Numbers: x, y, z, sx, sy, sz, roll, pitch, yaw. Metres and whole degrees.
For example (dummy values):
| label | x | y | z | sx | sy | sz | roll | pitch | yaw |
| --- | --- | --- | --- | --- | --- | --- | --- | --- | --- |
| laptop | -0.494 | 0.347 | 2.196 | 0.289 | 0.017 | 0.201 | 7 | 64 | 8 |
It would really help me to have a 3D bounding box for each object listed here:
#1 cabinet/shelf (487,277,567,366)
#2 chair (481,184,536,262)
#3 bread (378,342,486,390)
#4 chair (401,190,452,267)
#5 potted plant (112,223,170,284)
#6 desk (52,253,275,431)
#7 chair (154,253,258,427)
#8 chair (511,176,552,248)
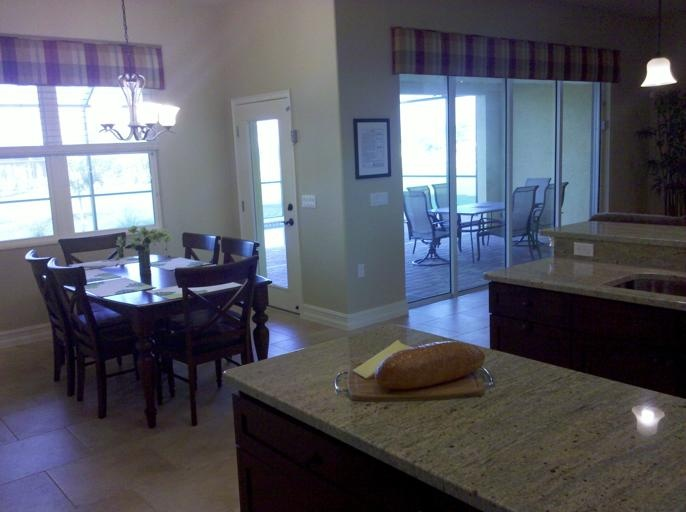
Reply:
| label | x | y | z | sx | sy | sz | roll | pitch | yaw |
| --- | --- | --- | --- | --- | --- | --- | --- | --- | --- |
| cabinet/shelf | 1.047 | 0.357 | 3.121 | 0.380 | 0.520 | 0.543 | -8 | 10 | -42 |
| chair | 2.146 | -0.432 | 6.840 | 0.451 | 0.855 | 0.502 | -3 | 9 | -8 |
| bread | 0.273 | 0.342 | 1.737 | 0.314 | 0.114 | 0.142 | -10 | -16 | -15 |
| chair | 0.963 | -0.320 | 6.070 | 0.541 | 0.823 | 0.463 | -11 | 13 | -43 |
| potted plant | -1.732 | -0.020 | 4.597 | 0.498 | 0.599 | 0.499 | 2 | 6 | 12 |
| desk | -1.245 | 0.698 | 4.187 | 1.392 | 0.809 | 1.228 | -8 | 0 | 43 |
| chair | -0.981 | 0.555 | 3.816 | 0.644 | 1.076 | 0.698 | -6 | 10 | -32 |
| chair | 2.238 | -0.486 | 6.847 | 0.495 | 0.683 | 0.554 | 10 | 5 | 42 |
